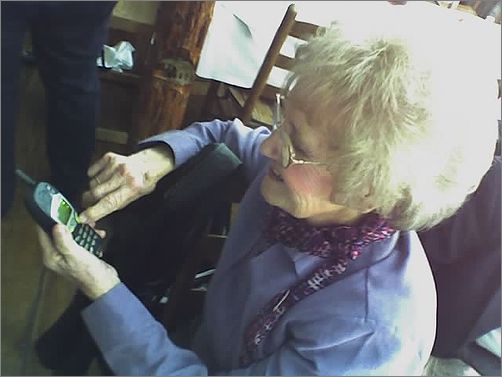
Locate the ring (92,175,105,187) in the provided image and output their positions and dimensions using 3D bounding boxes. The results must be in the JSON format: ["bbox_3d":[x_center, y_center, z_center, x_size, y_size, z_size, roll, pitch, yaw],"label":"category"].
[{"bbox_3d":[-0.381,-0.018,1.288,0.022,0.024,0.006,29,-20,-3],"label":"ring"}]

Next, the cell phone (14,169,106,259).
[{"bbox_3d":[-0.423,0.070,1.174,0.223,0.186,0.078,7,25,-34],"label":"cell phone"}]
